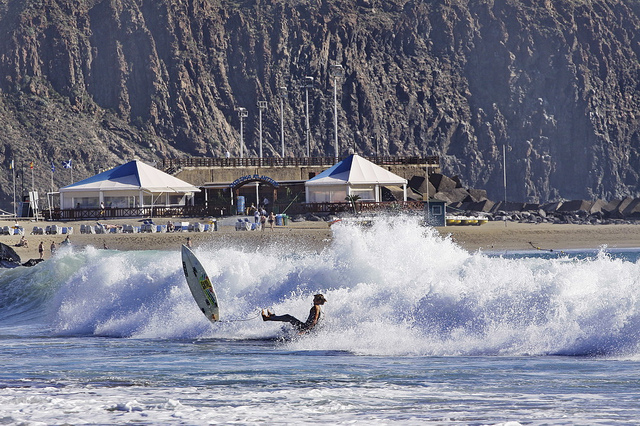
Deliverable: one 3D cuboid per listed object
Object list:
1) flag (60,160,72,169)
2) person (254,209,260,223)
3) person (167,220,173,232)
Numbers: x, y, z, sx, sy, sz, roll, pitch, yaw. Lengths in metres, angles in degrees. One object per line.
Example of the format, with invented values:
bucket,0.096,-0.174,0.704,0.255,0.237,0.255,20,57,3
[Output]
flag,-35.347,-7.245,239.775,2.267,1.697,0.175,2,-3,-6
person,-7.745,0.011,210.708,0.515,1.255,1.670,-2,3,-3
person,-18.146,1.375,208.109,0.625,0.968,1.108,-3,3,-10
